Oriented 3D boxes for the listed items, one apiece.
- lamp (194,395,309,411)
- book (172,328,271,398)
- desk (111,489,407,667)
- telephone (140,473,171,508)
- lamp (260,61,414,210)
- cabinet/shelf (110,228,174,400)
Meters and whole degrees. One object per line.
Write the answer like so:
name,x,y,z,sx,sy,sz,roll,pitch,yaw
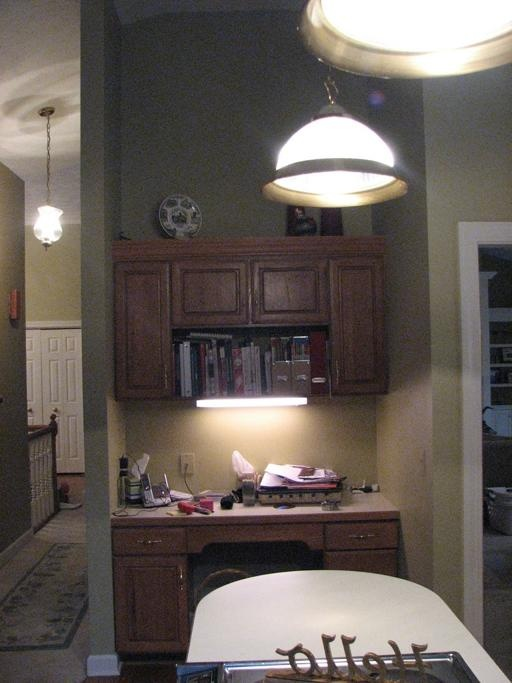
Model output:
lamp,-0.029,0.325,3.383,0.604,0.102,0.339,0,0,-1
book,-0.173,0.125,3.282,0.489,0.330,0.142,0,0,-7
desk,-0.003,1.142,3.265,1.383,0.589,0.437,-2,-3,-3
telephone,-0.520,0.764,3.319,0.171,0.164,0.127,-10,-1,-24
lamp,0.194,-0.511,1.774,0.362,0.351,0.352,1,-7,-6
cabinet/shelf,-0.568,-0.107,3.221,0.290,0.787,0.079,0,0,-10
